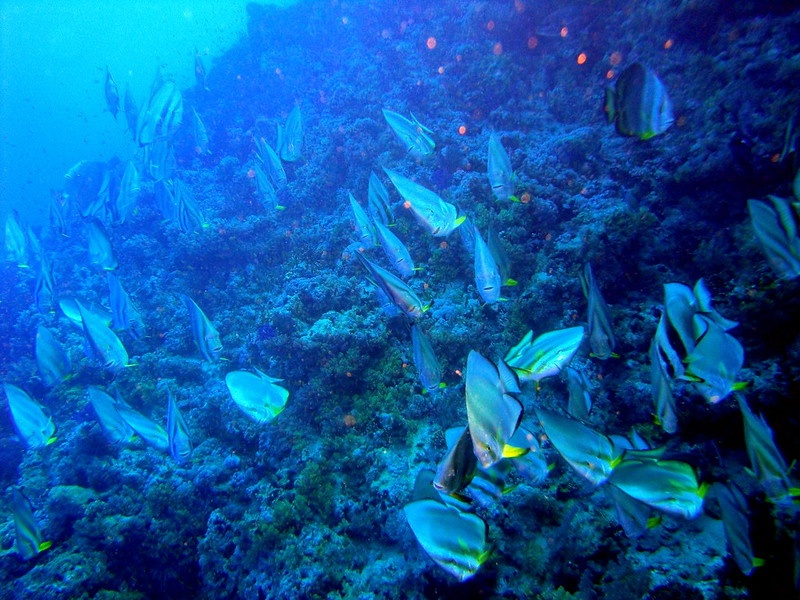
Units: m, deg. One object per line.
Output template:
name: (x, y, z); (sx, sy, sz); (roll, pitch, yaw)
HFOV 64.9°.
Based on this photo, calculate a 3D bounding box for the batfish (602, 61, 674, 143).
batfish: (3.760, -3.160, 10.034); (0.946, 1.123, 0.431); (-16, 16, 27)
